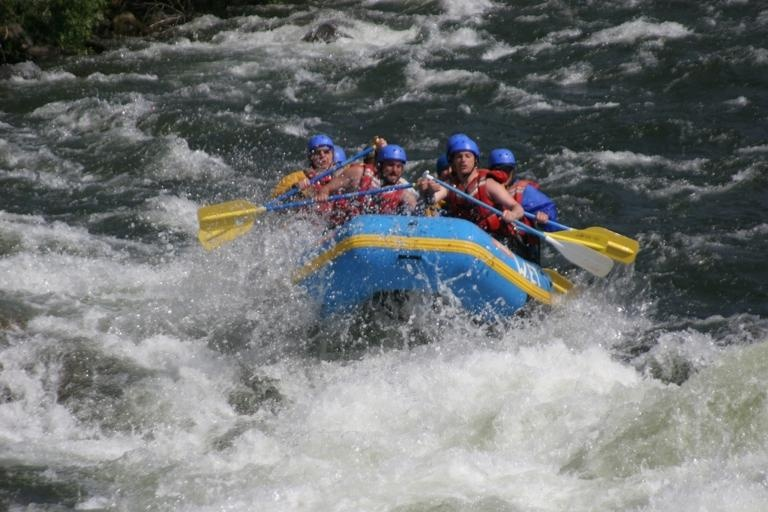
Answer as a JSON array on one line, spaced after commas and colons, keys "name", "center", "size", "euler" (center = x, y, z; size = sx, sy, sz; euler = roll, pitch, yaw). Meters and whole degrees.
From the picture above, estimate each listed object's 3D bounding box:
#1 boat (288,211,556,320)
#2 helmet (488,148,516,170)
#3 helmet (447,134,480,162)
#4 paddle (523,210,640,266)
[{"name": "boat", "center": [1.492, 0.423, 25.107], "size": [3.954, 6.083, 1.253], "euler": [4, 79, 19]}, {"name": "helmet", "center": [2.021, -1.677, 24.057], "size": [0.327, 0.406, 0.356], "euler": [2, 78, -4]}, {"name": "helmet", "center": [1.321, -1.844, 23.815], "size": [0.475, 0.583, 0.481], "euler": [-10, 50, -3]}, {"name": "paddle", "center": [3.056, -0.253, 23.036], "size": [2.360, 0.252, 0.527], "euler": [12, 73, -27]}]
